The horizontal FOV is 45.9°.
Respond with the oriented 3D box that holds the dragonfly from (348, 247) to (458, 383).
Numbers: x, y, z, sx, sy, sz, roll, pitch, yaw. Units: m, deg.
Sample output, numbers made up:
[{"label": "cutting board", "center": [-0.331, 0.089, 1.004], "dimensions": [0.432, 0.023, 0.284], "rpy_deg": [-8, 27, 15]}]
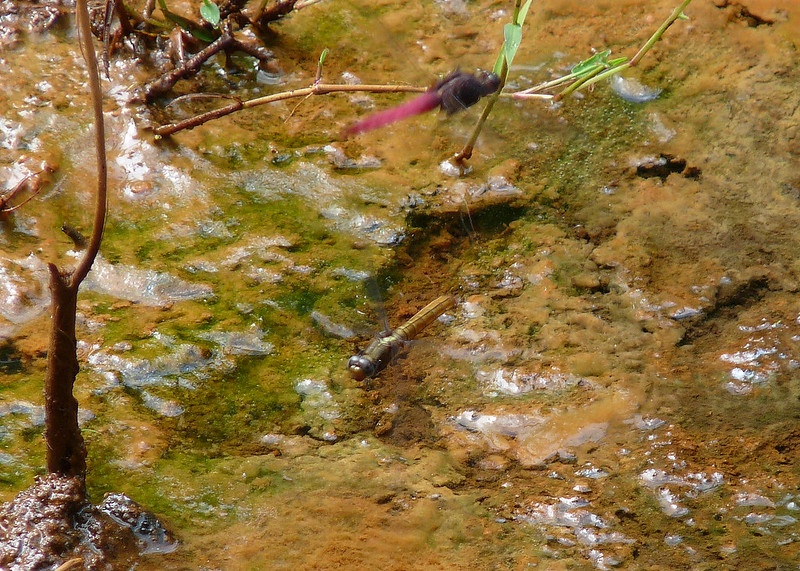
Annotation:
[{"label": "dragonfly", "center": [-0.001, 0.149, 3.976], "dimensions": [0.385, 0.109, 0.401], "rpy_deg": [34, 51, 26]}]
